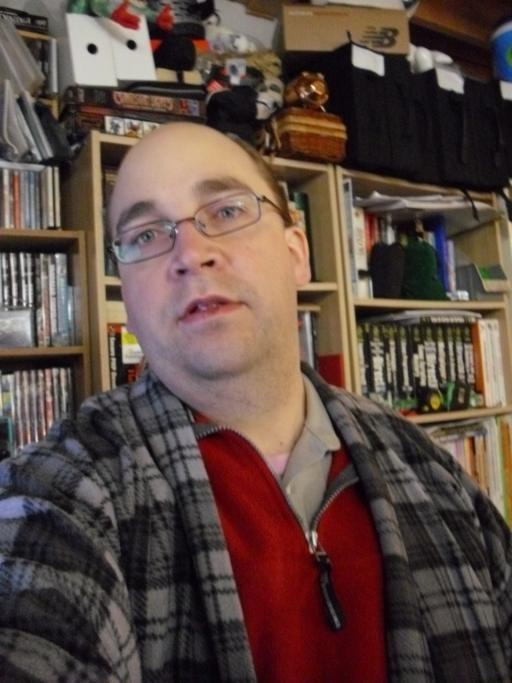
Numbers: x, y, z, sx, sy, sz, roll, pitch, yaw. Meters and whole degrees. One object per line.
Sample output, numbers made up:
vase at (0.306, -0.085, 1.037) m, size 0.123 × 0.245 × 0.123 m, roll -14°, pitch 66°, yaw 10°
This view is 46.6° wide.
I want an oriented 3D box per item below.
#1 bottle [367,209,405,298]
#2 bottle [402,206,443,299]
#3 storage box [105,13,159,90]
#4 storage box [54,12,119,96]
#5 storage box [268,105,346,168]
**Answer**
bottle at (0.411, -0.249, 1.845) m, size 0.107 × 0.274 × 0.076 m, roll 5°, pitch -4°, yaw -29°
bottle at (0.529, -0.276, 1.905) m, size 0.173 × 0.262 × 0.066 m, roll 0°, pitch -13°, yaw -15°
storage box at (-0.312, -0.745, 1.495) m, size 0.167 × 0.159 × 0.041 m, roll -2°, pitch -7°, yaw -29°
storage box at (-0.432, -0.714, 1.486) m, size 0.118 × 0.161 × 0.090 m, roll -14°, pitch 10°, yaw -41°
storage box at (0.146, -0.561, 1.653) m, size 0.229 × 0.150 × 0.136 m, roll -5°, pitch 11°, yaw -30°
